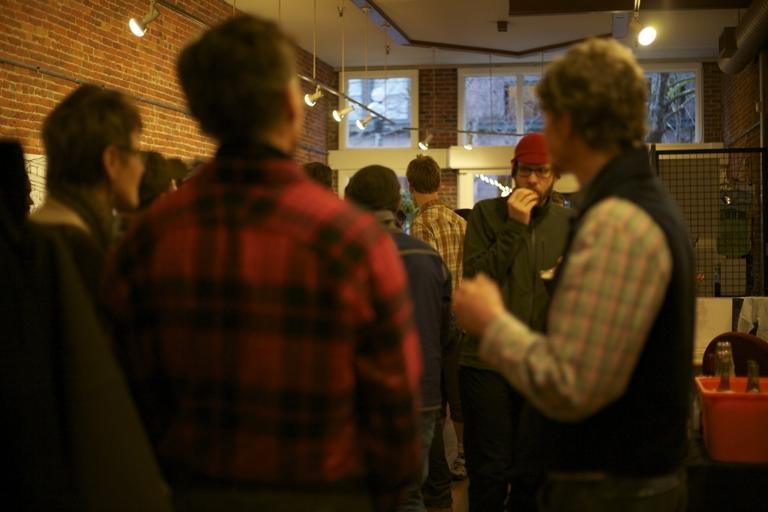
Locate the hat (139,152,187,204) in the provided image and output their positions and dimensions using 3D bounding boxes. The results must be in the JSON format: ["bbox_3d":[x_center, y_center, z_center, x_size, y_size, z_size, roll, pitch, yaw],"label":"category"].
[{"bbox_3d":[-0.996,-0.346,3.002,0.068,0.253,0.298,5,3,25],"label":"hat"}]

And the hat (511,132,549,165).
[{"bbox_3d":[0.701,-0.537,3.274,0.210,0.155,0.294,1,1,14],"label":"hat"}]
